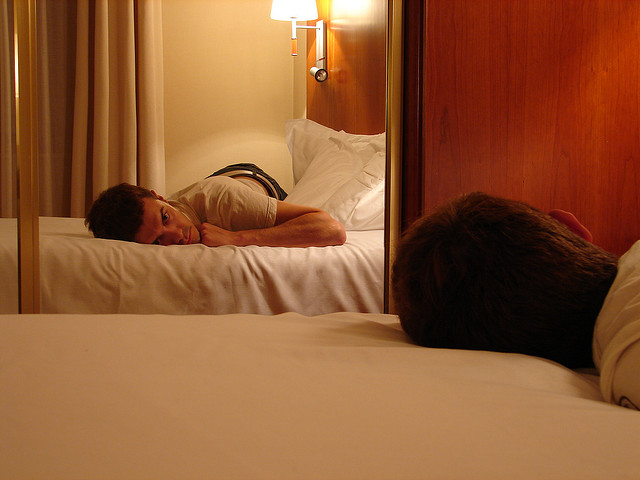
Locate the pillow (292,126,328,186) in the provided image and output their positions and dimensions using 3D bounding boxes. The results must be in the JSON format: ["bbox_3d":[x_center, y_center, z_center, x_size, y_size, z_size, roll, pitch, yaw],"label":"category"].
[{"bbox_3d":[-0.040,-0.282,1.888,0.128,0.146,0.041,21,5,4],"label":"pillow"}]
